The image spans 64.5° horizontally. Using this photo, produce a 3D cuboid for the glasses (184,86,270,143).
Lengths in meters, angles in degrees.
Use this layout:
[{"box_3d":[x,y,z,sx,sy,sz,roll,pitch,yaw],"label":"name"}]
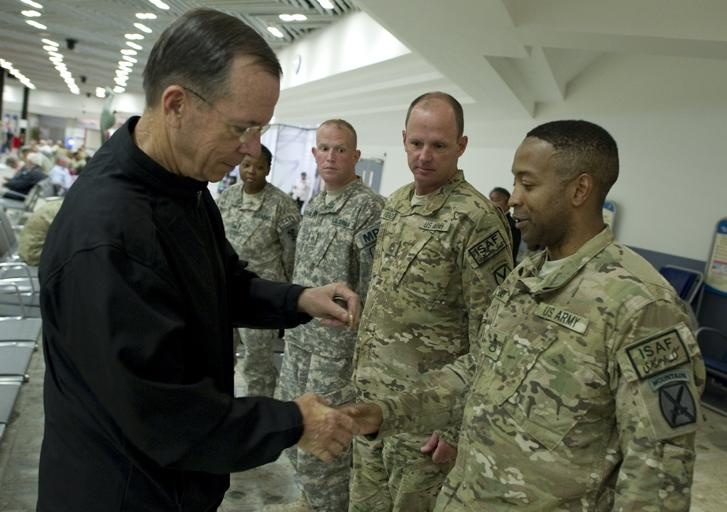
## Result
[{"box_3d":[-0.450,-0.452,1.828,0.188,0.055,0.182,39,12,6],"label":"glasses"}]
